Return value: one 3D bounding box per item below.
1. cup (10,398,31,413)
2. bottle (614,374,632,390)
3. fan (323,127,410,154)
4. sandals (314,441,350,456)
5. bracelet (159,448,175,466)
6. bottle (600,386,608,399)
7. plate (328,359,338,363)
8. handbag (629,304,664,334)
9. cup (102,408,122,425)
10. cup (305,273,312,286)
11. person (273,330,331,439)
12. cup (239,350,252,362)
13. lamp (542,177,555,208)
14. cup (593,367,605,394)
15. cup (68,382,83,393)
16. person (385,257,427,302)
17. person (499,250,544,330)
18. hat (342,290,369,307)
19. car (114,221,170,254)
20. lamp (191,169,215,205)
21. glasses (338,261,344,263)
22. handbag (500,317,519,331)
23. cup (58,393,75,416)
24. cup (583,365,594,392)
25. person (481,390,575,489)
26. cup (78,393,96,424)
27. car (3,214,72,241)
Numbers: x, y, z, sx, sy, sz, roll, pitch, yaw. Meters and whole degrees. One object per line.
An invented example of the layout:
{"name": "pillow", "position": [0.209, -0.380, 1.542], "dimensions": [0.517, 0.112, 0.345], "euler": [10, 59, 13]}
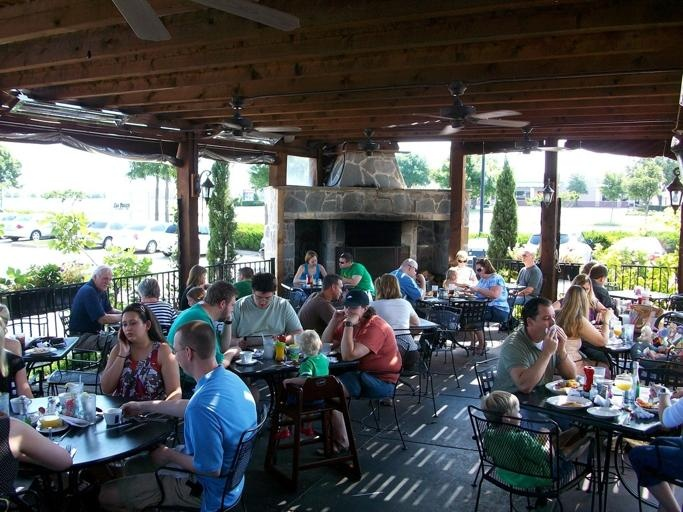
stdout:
{"name": "cup", "position": [-2.312, 1.064, 3.776], "dimensions": [0.113, 0.078, 0.115], "euler": [4, -9, 1]}
{"name": "bottle", "position": [2.348, 1.046, 4.337], "dimensions": [0.120, 0.116, 0.117], "euler": [-2, 3, 8]}
{"name": "fan", "position": [0.598, -2.491, 11.701], "dimensions": [1.805, 0.393, 3.141], "euler": [-1, 8, -9]}
{"name": "sandals", "position": [-0.118, 1.898, 5.099], "dimensions": [0.377, 0.150, 0.137], "euler": [2, -3, 8]}
{"name": "bracelet", "position": [-1.188, 1.356, 3.540], "dimensions": [0.126, 0.090, 0.037], "euler": [-7, -2, 27]}
{"name": "bottle", "position": [2.207, 1.128, 4.369], "dimensions": [0.066, 0.106, 0.137], "euler": [6, 10, 32]}
{"name": "plate", "position": [-0.091, 1.027, 5.108], "dimensions": [0.059, 0.015, 0.059], "euler": [1, 0, -15]}
{"name": "handbag", "position": [3.893, 0.749, 6.765], "dimensions": [0.389, 0.374, 0.530], "euler": [11, 14, 38]}
{"name": "cup", "position": [-1.643, 1.140, 3.736], "dimensions": [0.109, 0.078, 0.106], "euler": [4, 8, -1]}
{"name": "cup", "position": [-0.605, 0.448, 9.644], "dimensions": [0.133, 0.216, 0.136], "euler": [1, -2, 0]}
{"name": "person", "position": [-0.356, 1.299, 4.929], "dimensions": [0.509, 1.228, 0.806], "euler": [-1, 8, -6]}
{"name": "cup", "position": [-0.920, 0.959, 5.014], "dimensions": [0.094, 0.066, 0.097], "euler": [0, -4, 0]}
{"name": "lamp", "position": [4.323, -1.329, 10.919], "dimensions": [0.221, 0.599, 0.496], "euler": [6, 10, 32]}
{"name": "cup", "position": [2.185, 1.044, 4.419], "dimensions": [0.087, 0.162, 0.193], "euler": [4, 9, 26]}
{"name": "cup", "position": [-1.981, 0.966, 3.877], "dimensions": [0.078, 0.095, 0.097], "euler": [6, 9, 3]}
{"name": "person", "position": [1.053, 0.378, 8.676], "dimensions": [0.532, 1.021, 0.465], "euler": [-18, 22, -34]}
{"name": "person", "position": [3.393, 0.648, 9.715], "dimensions": [0.826, 1.489, 0.660], "euler": [-4, -2, 18]}
{"name": "hat", "position": [0.153, 0.427, 5.232], "dimensions": [0.206, 0.105, 0.149], "euler": [2, 1, -18]}
{"name": "car", "position": [-8.018, -0.730, 21.133], "dimensions": [1.152, 0.817, 2.524], "euler": [4, 11, 23]}
{"name": "lamp", "position": [-2.706, -1.356, 10.258], "dimensions": [0.342, 0.654, 1.097], "euler": [-2, 8, -13]}
{"name": "glasses", "position": [0.012, 0.109, 9.274], "dimensions": [0.068, 0.031, 0.053], "euler": [3, -1, -19]}
{"name": "handbag", "position": [3.130, 1.288, 9.857], "dimensions": [0.257, 0.178, 0.423], "euler": [-7, 5, 25]}
{"name": "cup", "position": [-1.976, 1.065, 3.805], "dimensions": [0.155, 0.163, 0.146], "euler": [1, -2, 0]}
{"name": "cup", "position": [2.110, 1.038, 4.450], "dimensions": [0.085, 0.185, 0.180], "euler": [4, 9, 25]}
{"name": "person", "position": [1.476, 1.320, 4.167], "dimensions": [0.667, 0.853, 0.730], "euler": [-11, 14, 20]}
{"name": "cup", "position": [-1.828, 1.087, 3.782], "dimensions": [0.113, 0.217, 0.121], "euler": [0, 8, 0]}
{"name": "car", "position": [-9.999, -0.900, 16.937], "dimensions": [1.314, 1.004, 2.778], "euler": [-4, 7, -38]}
